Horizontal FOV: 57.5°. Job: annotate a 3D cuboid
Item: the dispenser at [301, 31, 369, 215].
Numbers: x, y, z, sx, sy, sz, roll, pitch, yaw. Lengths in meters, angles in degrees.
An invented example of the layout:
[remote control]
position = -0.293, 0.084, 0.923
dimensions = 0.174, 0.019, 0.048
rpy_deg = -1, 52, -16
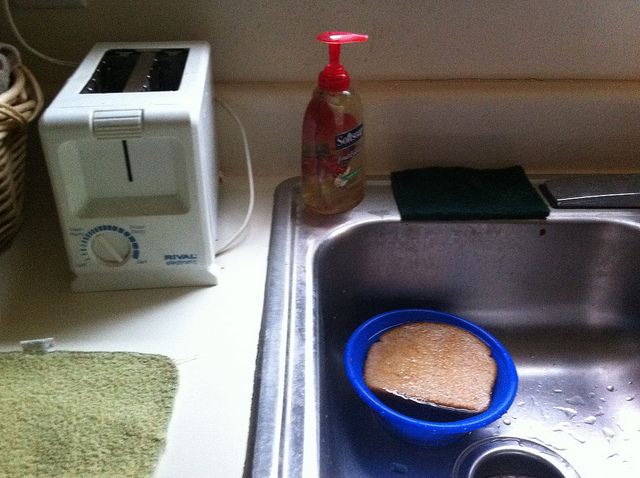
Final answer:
[dispenser]
position = 0.021, -0.196, 1.038
dimensions = 0.145, 0.317, 0.094
rpy_deg = -16, 36, -24

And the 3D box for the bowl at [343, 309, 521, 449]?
[bowl]
position = 0.190, 0.204, 0.999
dimensions = 0.279, 0.265, 0.105
rpy_deg = 3, 33, 9

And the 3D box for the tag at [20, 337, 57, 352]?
[tag]
position = -0.407, 0.153, 0.842
dimensions = 0.031, 0.010, 0.024
rpy_deg = -2, 15, -14

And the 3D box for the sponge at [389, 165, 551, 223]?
[sponge]
position = 0.272, -0.086, 1.086
dimensions = 0.204, 0.021, 0.127
rpy_deg = -3, 39, -5

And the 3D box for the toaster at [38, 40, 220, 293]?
[toaster]
position = -0.305, -0.144, 1.058
dimensions = 0.274, 0.311, 0.435
rpy_deg = -1, 31, -9

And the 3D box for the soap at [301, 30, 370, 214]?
[soap]
position = -0.001, -0.191, 1.042
dimensions = 0.148, 0.311, 0.137
rpy_deg = -2, 40, -14
